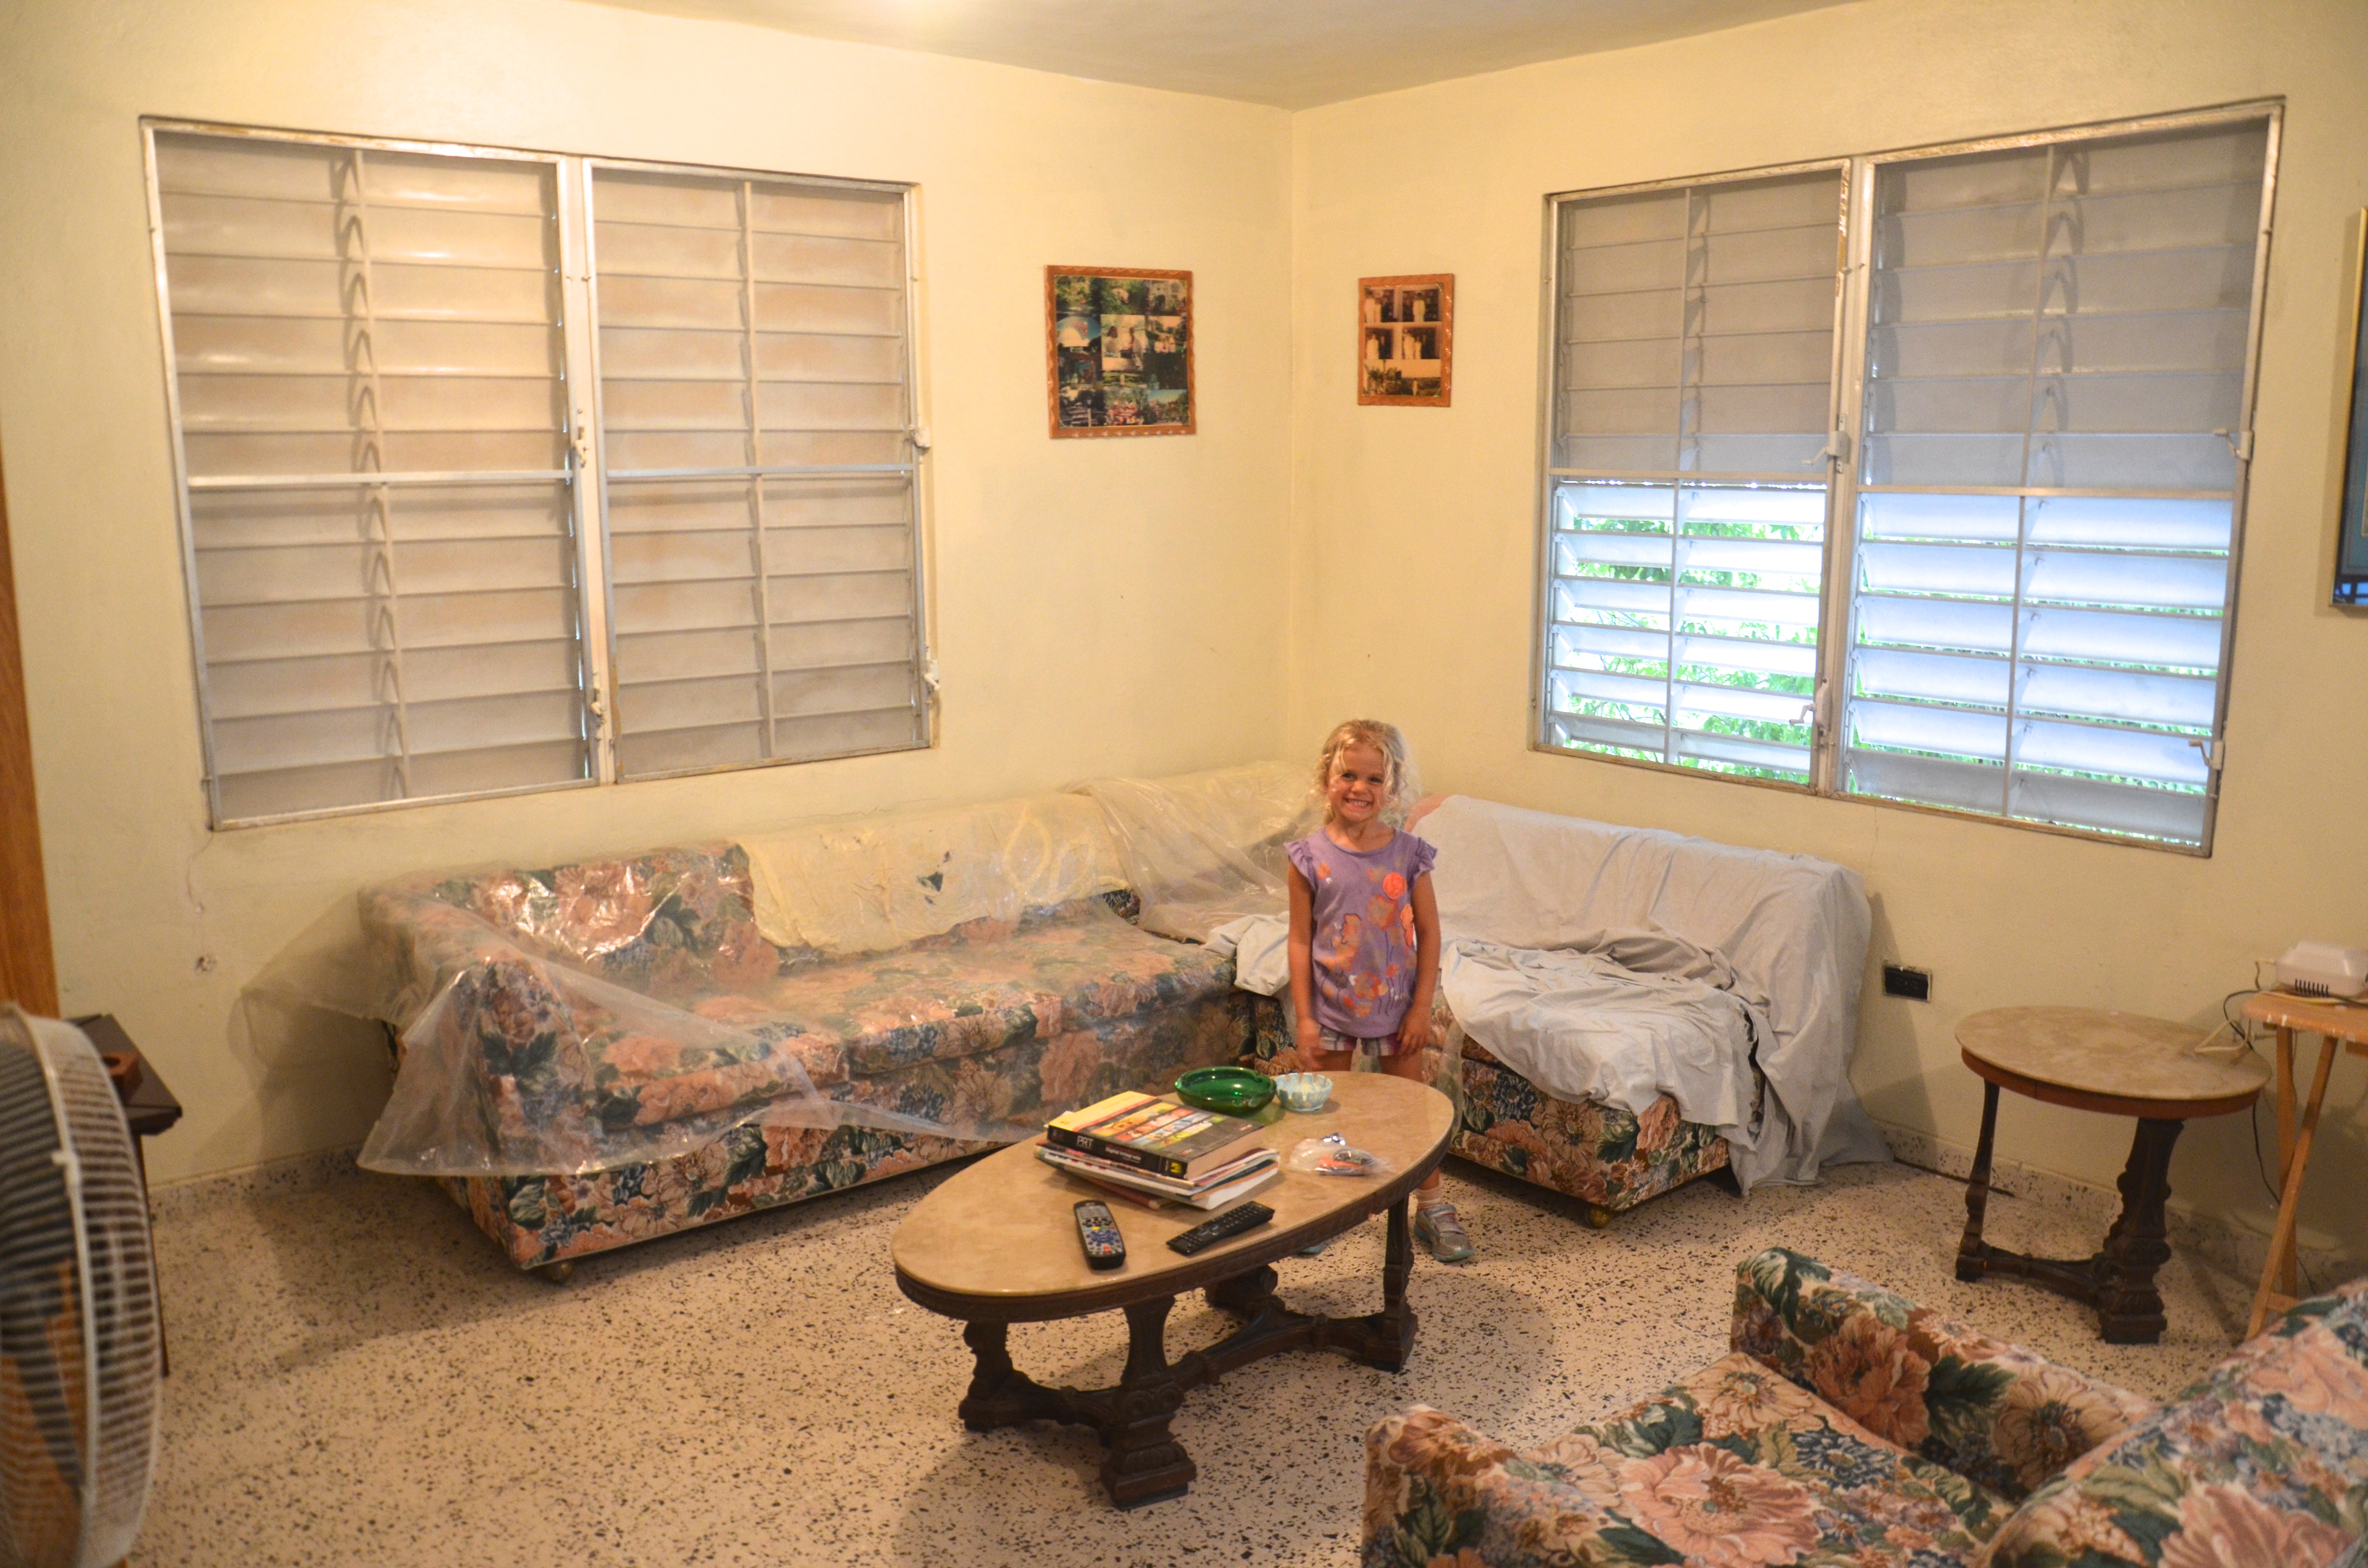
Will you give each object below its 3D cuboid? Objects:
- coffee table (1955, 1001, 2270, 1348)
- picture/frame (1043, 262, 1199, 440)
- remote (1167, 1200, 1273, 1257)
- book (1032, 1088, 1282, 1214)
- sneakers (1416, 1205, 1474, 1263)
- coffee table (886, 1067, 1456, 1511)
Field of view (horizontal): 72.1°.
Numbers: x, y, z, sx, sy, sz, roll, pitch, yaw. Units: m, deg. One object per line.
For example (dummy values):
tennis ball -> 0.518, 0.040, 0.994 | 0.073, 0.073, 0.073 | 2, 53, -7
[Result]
coffee table -> 2.345, 1.023, 4.233 | 0.687, 0.675, 0.686 | 4, 6, 29
picture/frame -> -0.231, -1.551, 5.808 | 0.644, 0.571, 0.012 | 9, 18, 34
remote -> 0.075, 0.957, 3.479 | 0.166, 0.027, 0.089 | -17, 21, -37
book -> -0.066, 0.827, 3.662 | 0.284, 0.070, 0.294 | 7, 10, 41
sneakers -> 0.710, 1.218, 4.385 | 0.099, 0.075, 0.189 | -1, 1, -23
coffee table -> 0.035, 1.189, 3.950 | 1.520, 0.666, 0.925 | -14, 15, -41
